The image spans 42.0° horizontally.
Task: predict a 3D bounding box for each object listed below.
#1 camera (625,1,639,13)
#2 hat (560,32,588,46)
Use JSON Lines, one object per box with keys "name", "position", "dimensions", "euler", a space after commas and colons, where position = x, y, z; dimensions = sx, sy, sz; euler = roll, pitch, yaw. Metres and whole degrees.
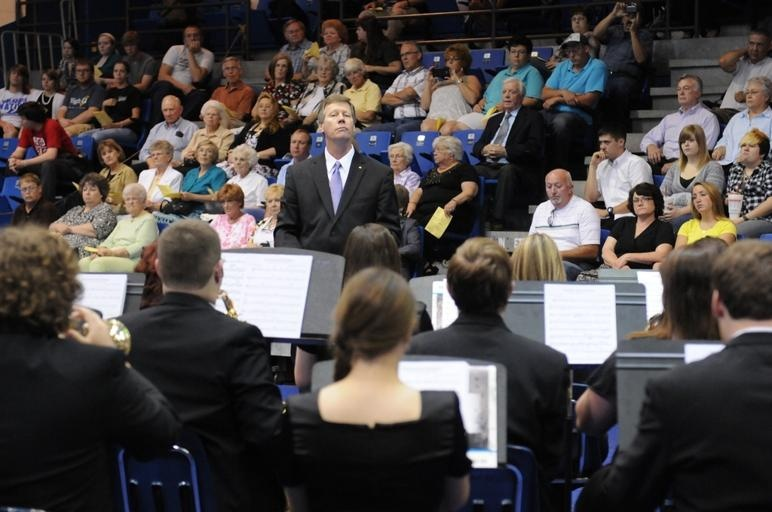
{"name": "camera", "position": [2.474, -2.514, 10.134], "dimensions": [0.157, 0.100, 0.145], "euler": [0, -6, 10]}
{"name": "hat", "position": [1.902, -2.208, 10.025], "dimensions": [0.176, 0.101, 0.291], "euler": [1, 8, 41]}
